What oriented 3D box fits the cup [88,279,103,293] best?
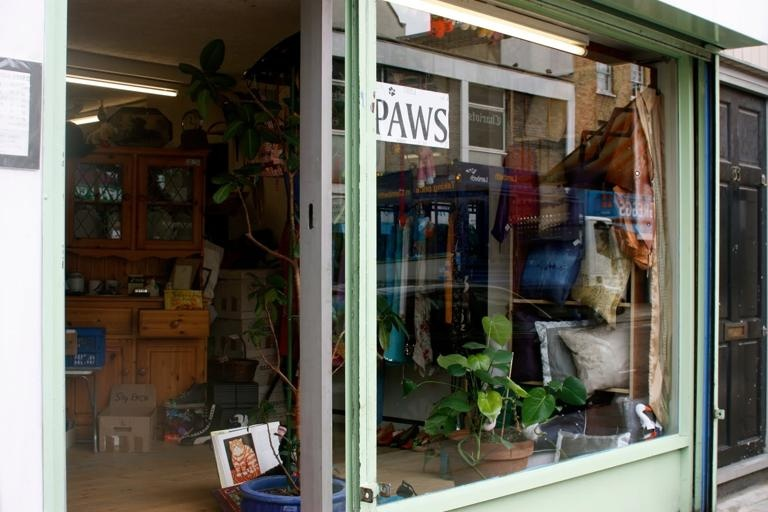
[{"bbox_3d":[-2.683,0.288,6.998,0.090,0.112,0.070,15,5,10],"label":"cup"}]

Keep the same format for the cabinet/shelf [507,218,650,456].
[{"bbox_3d":[1.269,0.506,5.393,1.021,1.490,0.684,0,1,-28],"label":"cabinet/shelf"}]

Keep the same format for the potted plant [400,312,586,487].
[{"bbox_3d":[0.671,0.858,4.666,0.952,0.686,0.793,0,-1,-31],"label":"potted plant"}]

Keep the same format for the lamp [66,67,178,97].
[{"bbox_3d":[-2.560,-1.663,7.422,1.035,0.114,0.404,-3,-4,-21],"label":"lamp"}]

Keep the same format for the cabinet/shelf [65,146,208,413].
[{"bbox_3d":[-2.371,0.307,7.302,1.341,2.635,0.688,0,14,-16],"label":"cabinet/shelf"}]

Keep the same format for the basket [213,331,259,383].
[{"bbox_3d":[-1.344,0.936,7.105,0.381,0.358,0.261,17,-14,-2],"label":"basket"}]

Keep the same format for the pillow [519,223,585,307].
[{"bbox_3d":[1.102,0.054,4.967,0.381,0.540,0.191,13,-6,18],"label":"pillow"}]

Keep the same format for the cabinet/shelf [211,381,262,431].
[{"bbox_3d":[-1.364,1.383,6.995,0.404,0.436,0.226,1,2,-7],"label":"cabinet/shelf"}]

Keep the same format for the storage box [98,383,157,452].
[{"bbox_3d":[-2.194,1.409,6.588,0.460,0.513,0.504,1,-5,-10],"label":"storage box"}]

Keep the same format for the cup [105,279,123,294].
[{"bbox_3d":[-2.548,0.307,7.114,0.111,0.113,0.146,-2,-21,-1],"label":"cup"}]

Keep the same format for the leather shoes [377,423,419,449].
[{"bbox_3d":[0.068,0.999,4.173,0.177,0.099,0.263,-1,-1,3],"label":"leather shoes"}]

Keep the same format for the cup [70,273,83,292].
[{"bbox_3d":[-2.814,0.249,6.889,0.129,0.215,0.151,-1,-7,-9],"label":"cup"}]

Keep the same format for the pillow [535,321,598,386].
[{"bbox_3d":[1.156,0.631,4.886,0.084,0.371,0.357,0,0,43],"label":"pillow"}]

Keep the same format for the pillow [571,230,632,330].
[{"bbox_3d":[1.496,0.149,5.156,0.464,0.635,0.196,-1,6,-41],"label":"pillow"}]

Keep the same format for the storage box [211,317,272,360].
[{"bbox_3d":[-1.382,0.822,7.215,0.655,0.436,0.676,-1,-4,44],"label":"storage box"}]
